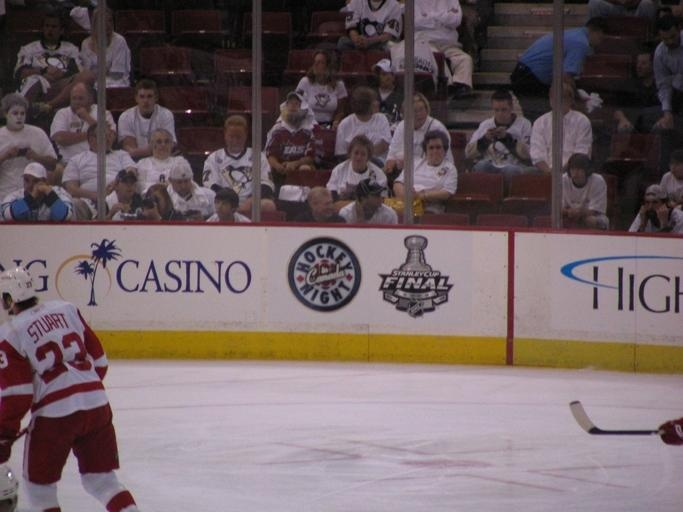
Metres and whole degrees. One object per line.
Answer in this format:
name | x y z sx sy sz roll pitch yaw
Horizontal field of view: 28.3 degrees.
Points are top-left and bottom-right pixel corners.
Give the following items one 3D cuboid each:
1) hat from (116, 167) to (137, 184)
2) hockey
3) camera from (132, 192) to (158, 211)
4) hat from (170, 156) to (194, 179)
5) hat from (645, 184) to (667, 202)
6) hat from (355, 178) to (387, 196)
hat | -2.293 -0.869 14.515 0.176 0.164 0.151 4 9 2
hockey | 2.263 1.395 11.308 0.896 0.361 0.582 -2 0 7
camera | -2.134 -0.599 14.664 0.304 0.132 0.114 5 0 -9
hat | -1.710 -0.935 14.554 0.197 0.243 0.270 -7 22 -3
hat | 3.283 -0.670 14.114 0.231 0.169 0.051 1 9 13
hat | 0.310 -0.755 14.428 0.253 0.145 0.185 3 9 7
